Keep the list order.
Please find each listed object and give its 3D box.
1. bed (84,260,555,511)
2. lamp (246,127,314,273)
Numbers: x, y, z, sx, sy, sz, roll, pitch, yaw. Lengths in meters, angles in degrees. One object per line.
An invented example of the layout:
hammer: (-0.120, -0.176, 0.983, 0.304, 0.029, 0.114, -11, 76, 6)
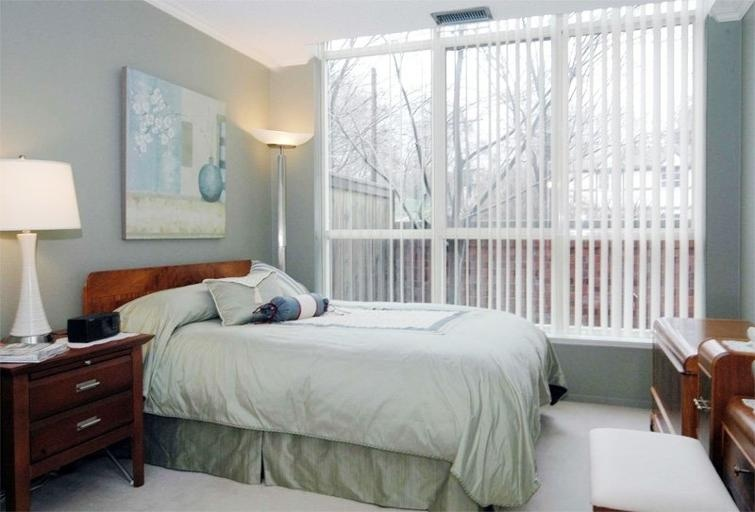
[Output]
bed: (-0.231, 0.897, 3.676, 2.147, 0.932, 1.804, -1, -1, 18)
lamp: (-0.912, -0.536, 5.267, 0.597, 1.372, 0.586, -1, 4, 9)
